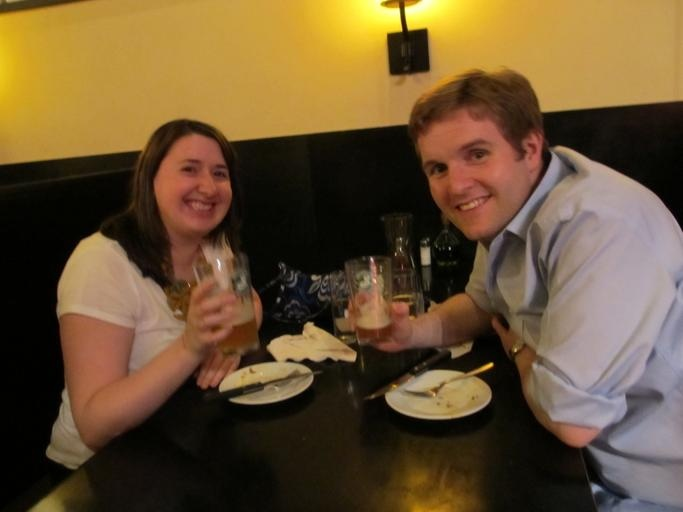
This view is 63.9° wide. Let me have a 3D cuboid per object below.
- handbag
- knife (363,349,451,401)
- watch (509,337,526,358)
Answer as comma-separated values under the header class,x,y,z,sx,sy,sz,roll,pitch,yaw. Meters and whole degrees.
class,x,y,z,sx,sy,sz,roll,pitch,yaw
handbag,-0.161,0.133,2.013,0.281,0.142,0.225,7,13,39
knife,0.177,0.322,1.474,0.029,0.023,0.231,10,21,33
watch,0.482,0.250,1.506,0.018,0.050,0.035,5,-11,35
